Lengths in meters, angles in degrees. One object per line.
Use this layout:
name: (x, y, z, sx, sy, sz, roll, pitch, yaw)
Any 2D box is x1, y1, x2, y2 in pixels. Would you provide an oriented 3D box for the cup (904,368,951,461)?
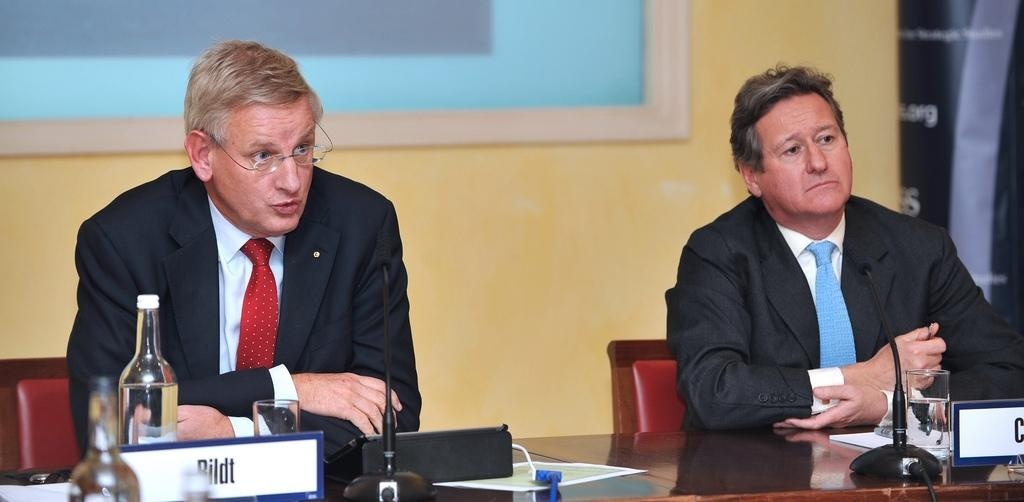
cup: (1.615, 0.623, 3.501, 0.144, 0.349, 0.138, 1, 2, 0)

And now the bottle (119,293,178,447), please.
bottle: (-1.296, 0.420, 3.236, 0.173, 0.512, 0.214, -1, 0, 40)

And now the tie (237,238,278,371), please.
tie: (-1.115, 0.236, 3.992, 0.167, 0.588, 0.155, 0, 2, -9)

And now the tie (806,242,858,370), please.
tie: (1.502, 0.265, 4.232, 0.182, 0.563, 0.171, 1, 2, 7)

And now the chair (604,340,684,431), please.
chair: (0.619, 0.629, 4.271, 0.340, 0.441, 0.173, -10, -9, 8)

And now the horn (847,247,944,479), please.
horn: (1.439, 0.429, 3.449, 0.311, 0.809, 0.288, 1, -1, 1)
